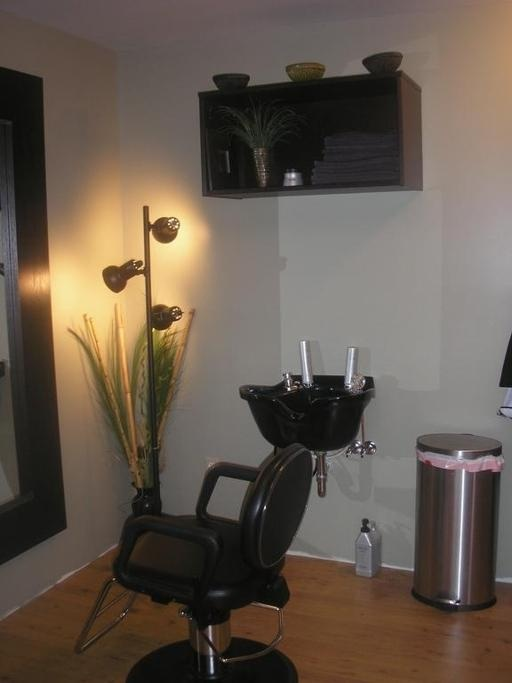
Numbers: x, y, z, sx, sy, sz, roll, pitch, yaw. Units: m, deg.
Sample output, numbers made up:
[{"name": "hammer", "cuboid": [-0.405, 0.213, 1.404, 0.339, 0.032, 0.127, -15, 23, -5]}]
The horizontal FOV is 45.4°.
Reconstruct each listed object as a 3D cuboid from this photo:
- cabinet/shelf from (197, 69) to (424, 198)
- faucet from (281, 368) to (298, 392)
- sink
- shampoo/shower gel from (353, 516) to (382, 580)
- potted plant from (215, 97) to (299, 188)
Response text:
[{"name": "cabinet/shelf", "cuboid": [0.198, -0.820, 2.520, 0.813, 0.396, 0.293, 2, 12, 19]}, {"name": "faucet", "cuboid": [0.143, 0.173, 2.679, 0.074, 0.123, 0.073, -3, -5, 2]}, {"name": "sink", "cuboid": [0.243, 0.289, 2.492, 0.466, 0.248, 0.481, 0, 5, 24]}, {"name": "shampoo/shower gel", "cuboid": [0.493, 0.908, 2.721, 0.094, 0.255, 0.152, 0, 3, 24]}, {"name": "potted plant", "cuboid": [0.025, -0.814, 2.559, 0.383, 0.338, 0.315, -5, 7, -13]}]
